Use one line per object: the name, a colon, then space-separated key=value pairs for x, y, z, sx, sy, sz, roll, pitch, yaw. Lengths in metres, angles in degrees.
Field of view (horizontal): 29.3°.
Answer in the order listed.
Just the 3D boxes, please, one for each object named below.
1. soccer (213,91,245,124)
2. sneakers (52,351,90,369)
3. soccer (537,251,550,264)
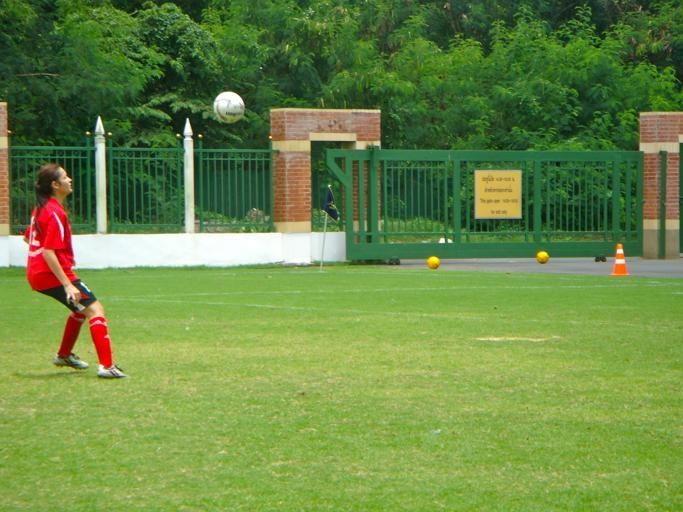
soccer: x=-2.614 y=-3.567 z=31.762 sx=0.588 sy=0.593 sz=0.577 roll=-2 pitch=-5 yaw=-7
sneakers: x=-4.028 y=1.641 z=19.653 sx=0.576 sy=0.298 sz=0.206 roll=7 pitch=42 yaw=-20
soccer: x=5.102 y=0.042 z=33.247 sx=0.287 sy=0.297 sz=0.292 roll=-10 pitch=31 yaw=-22
